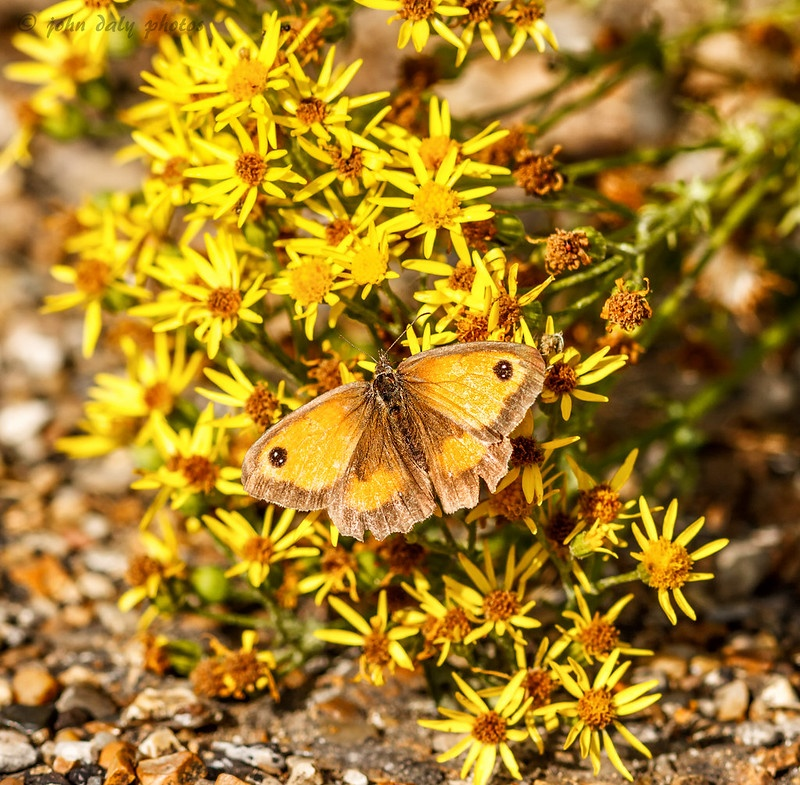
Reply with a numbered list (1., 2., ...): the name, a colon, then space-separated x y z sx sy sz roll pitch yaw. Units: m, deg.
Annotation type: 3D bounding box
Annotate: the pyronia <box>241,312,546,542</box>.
1. pyronia: 0.005 0.171 3.199 0.135 1.299 0.573 3 -71 47
